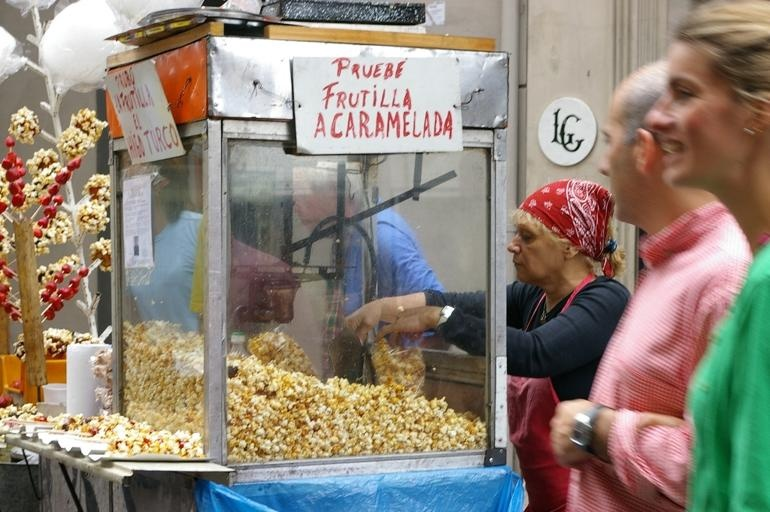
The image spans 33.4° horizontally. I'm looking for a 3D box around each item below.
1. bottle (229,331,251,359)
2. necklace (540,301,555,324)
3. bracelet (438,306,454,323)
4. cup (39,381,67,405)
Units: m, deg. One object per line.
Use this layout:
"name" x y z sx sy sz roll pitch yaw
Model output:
"bottle" -0.512 0.315 4.547 0.066 0.084 0.075 0 5 -4
"necklace" 0.672 0.232 5.275 0.054 0.092 0.022 4 5 11
"bracelet" 0.226 0.212 4.713 0.041 0.072 0.063 23 -16 8
"cup" -1.439 0.587 5.584 0.095 0.085 0.096 3 -1 0
